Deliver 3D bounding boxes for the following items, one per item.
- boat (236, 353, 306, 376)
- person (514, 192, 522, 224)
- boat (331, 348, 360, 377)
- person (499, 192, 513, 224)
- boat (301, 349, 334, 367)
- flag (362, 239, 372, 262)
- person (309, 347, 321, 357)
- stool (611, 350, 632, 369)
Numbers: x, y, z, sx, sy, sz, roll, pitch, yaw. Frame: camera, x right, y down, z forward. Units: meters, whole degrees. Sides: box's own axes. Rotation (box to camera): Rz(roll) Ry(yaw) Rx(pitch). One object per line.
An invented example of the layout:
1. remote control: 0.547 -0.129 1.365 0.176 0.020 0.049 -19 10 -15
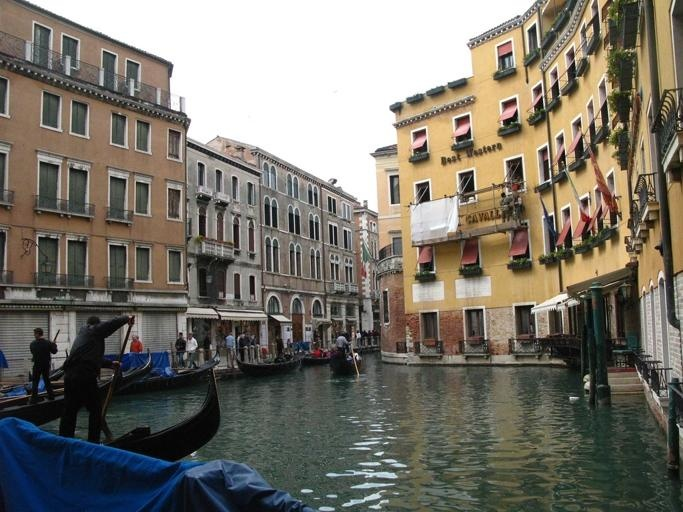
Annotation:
1. boat: -3.651 5.610 36.743 1.577 0.965 5.014 -3 -3 17
2. person: 8.617 -2.361 35.003 0.459 1.633 0.958 -3 -3 18
3. boat: 0.175 5.150 34.957 1.316 1.192 2.386 -3 -3 13
4. person: 8.156 -2.449 35.408 0.434 1.478 1.053 -1 -3 -27
5. boat: -1.462 6.357 44.729 0.914 0.590 3.212 -3 -16 16
6. flag: 1.971 -0.438 57.203 0.133 1.242 2.715 -32 -40 -16
7. person: -1.827 6.381 47.595 0.418 0.590 0.974 15 -6 15
8. stool: 9.078 3.326 23.161 0.563 0.408 0.808 -5 -8 24
